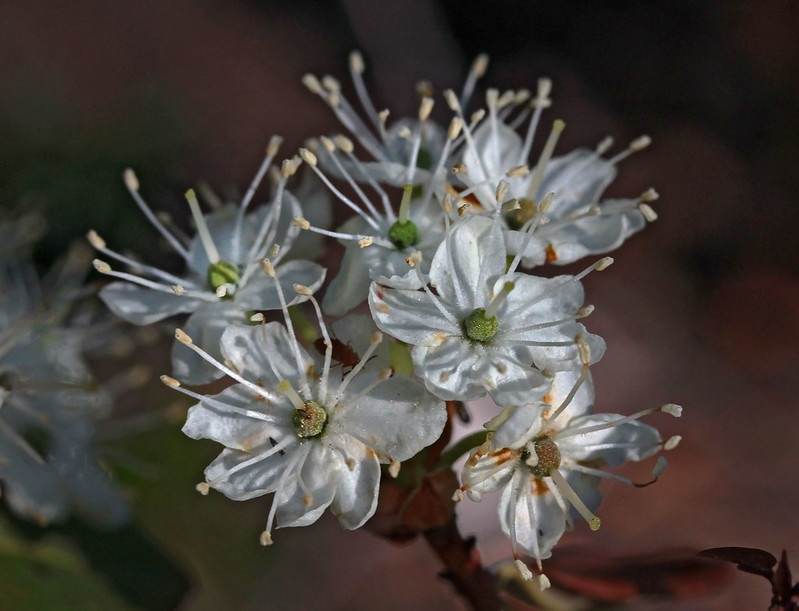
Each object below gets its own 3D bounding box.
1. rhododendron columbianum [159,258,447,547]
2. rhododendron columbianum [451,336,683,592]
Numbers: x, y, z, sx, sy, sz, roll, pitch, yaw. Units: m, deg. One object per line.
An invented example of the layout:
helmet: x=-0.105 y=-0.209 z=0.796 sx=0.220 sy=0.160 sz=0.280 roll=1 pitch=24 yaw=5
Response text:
rhododendron columbianum: x=-0.225 y=0.180 z=1.906 sx=0.621 sy=0.306 sz=0.655 roll=1 pitch=40 yaw=23
rhododendron columbianum: x=0.292 y=0.304 z=2.113 sx=0.525 sy=0.518 sz=0.171 roll=-37 pitch=19 yaw=-9
